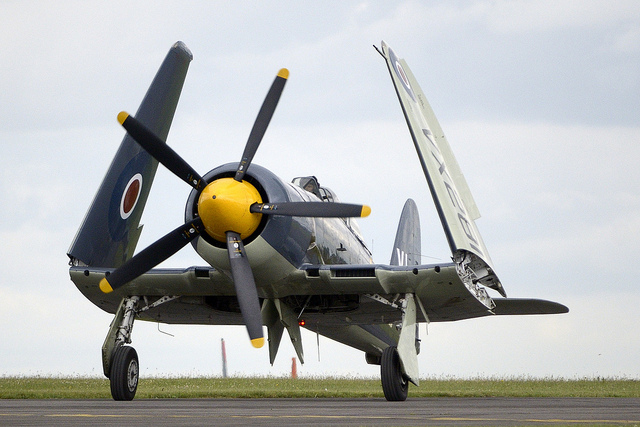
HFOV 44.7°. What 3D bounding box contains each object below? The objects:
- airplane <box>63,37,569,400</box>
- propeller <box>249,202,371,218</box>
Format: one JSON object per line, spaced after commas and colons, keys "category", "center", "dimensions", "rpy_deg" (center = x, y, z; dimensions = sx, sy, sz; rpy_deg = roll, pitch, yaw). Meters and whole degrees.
{"category": "airplane", "center": [0.061, 1.163, 20.399], "dimensions": [9.624, 7.773, 13.623], "rpy_deg": [-3, -17, 21]}
{"category": "propeller", "center": [-0.179, -0.079, 15.125], "dimensions": [2.323, 0.268, 0.411], "rpy_deg": [2, 0, 10]}
